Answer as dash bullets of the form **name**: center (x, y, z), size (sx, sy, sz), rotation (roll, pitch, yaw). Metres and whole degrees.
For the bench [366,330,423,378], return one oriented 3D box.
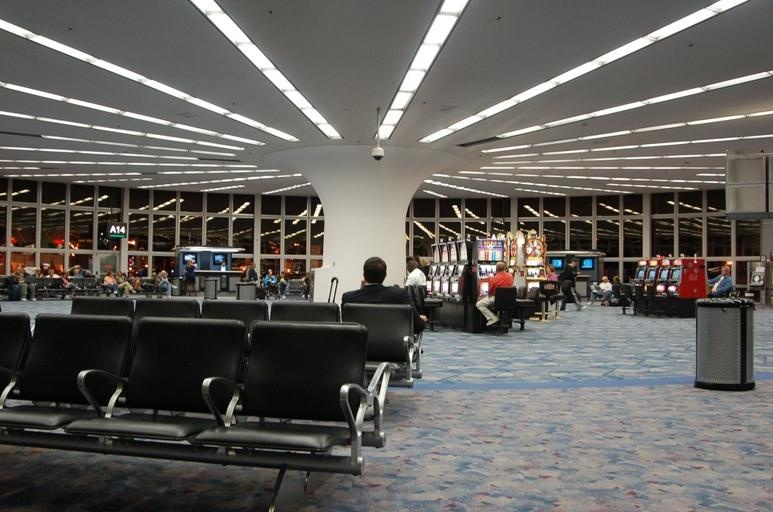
- **bench**: center (0.097, 1.039, 6.095), size (0.518, 0.497, 0.628), rotation (1, -2, 9)

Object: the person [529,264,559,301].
- **person**: center (4.651, 0.976, 16.403), size (0.726, 0.733, 0.696), rotation (-13, 18, -28)

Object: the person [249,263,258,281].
- **person**: center (-6.543, 0.802, 27.847), size (0.502, 0.890, 0.827), rotation (-5, 3, -6)

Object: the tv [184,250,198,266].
- **tv**: center (-9.384, 0.104, 27.144), size (0.795, 0.701, 0.394), rotation (1, -7, -12)

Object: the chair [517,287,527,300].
- **chair**: center (3.375, 0.926, 14.247), size (0.247, 0.265, 0.590), rotation (-2, -4, 11)

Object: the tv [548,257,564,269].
- **tv**: center (7.959, 0.338, 26.659), size (0.643, 0.569, 0.061), rotation (1, -13, 3)

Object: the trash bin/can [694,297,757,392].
- **trash bin/can**: center (4.199, 1.106, 7.110), size (0.637, 1.113, 0.262), rotation (-3, -4, 23)

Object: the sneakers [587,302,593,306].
- **sneakers**: center (8.734, 2.065, 24.542), size (0.168, 0.188, 0.499), rotation (-6, -10, 32)

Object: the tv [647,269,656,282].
- **tv**: center (9.625, 0.645, 20.707), size (0.263, 0.424, 0.596), rotation (-2, -4, 10)

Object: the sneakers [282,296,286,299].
- **sneakers**: center (-5.103, 2.037, 28.207), size (0.138, 0.095, 0.147), rotation (3, -4, -30)

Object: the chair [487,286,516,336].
- **chair**: center (2.710, 1.273, 13.342), size (0.601, 1.020, 1.330), rotation (-2, -4, 10)

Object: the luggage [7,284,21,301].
- **luggage**: center (-13.955, 1.346, 21.295), size (0.450, 0.794, 0.447), rotation (7, -34, -43)

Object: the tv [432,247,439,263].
- **tv**: center (1.396, -0.039, 16.123), size (0.135, 0.524, 0.430), rotation (0, -4, -8)

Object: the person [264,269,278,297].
- **person**: center (-5.808, 1.410, 28.448), size (1.016, 0.917, 1.468), rotation (0, -15, -14)

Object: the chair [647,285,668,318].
- **chair**: center (8.745, 1.496, 18.214), size (0.520, 0.872, 1.098), rotation (-3, -4, 25)

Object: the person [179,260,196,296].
- **person**: center (-8.946, 0.967, 25.533), size (0.648, 1.518, 0.784), rotation (0, -4, -15)

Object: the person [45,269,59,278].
- **person**: center (-13.790, 0.771, 23.438), size (0.572, 0.250, 0.713), rotation (1, 0, -17)

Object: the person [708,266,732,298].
- **person**: center (10.773, 0.817, 18.242), size (0.456, 0.939, 1.441), rotation (-3, -4, 27)

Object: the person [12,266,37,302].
- **person**: center (-13.963, 1.080, 21.889), size (0.565, 1.179, 0.694), rotation (-18, 23, -42)

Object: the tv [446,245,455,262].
- **tv**: center (1.746, -0.099, 15.239), size (0.109, 0.500, 0.411), rotation (0, -4, -14)
